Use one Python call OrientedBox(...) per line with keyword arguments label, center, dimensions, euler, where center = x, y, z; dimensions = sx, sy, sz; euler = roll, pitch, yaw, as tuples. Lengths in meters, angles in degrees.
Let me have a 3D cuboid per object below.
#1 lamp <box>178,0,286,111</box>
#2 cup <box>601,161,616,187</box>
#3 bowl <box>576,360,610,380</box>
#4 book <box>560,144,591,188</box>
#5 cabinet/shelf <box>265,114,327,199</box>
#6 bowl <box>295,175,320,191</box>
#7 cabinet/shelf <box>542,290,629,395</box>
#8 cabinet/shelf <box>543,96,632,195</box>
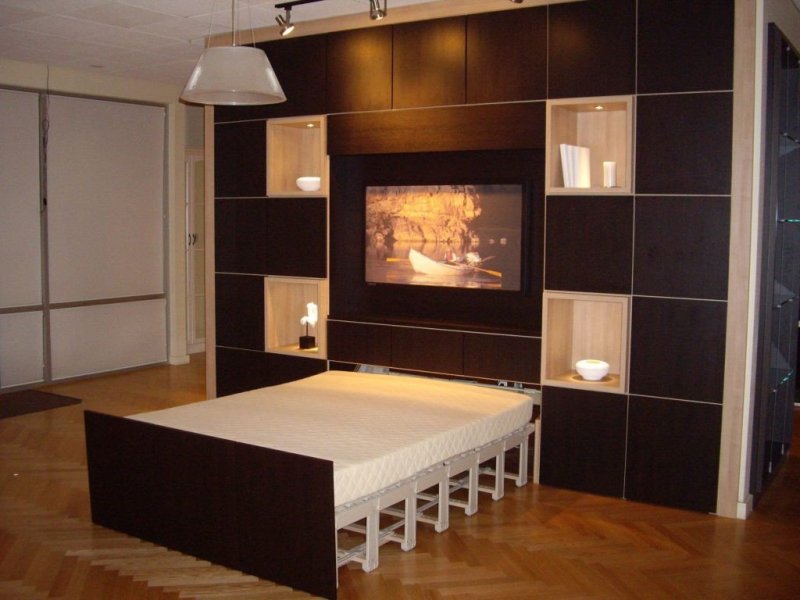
OrientedBox(label="lamp", center=(-0.930, -1.370, 3.834), dimensions=(0.464, 0.503, 0.450), euler=(6, 10, 37))
OrientedBox(label="cup", center=(1.431, -0.861, 4.618), dimensions=(0.101, 0.182, 0.356), euler=(3, 9, 17))
OrientedBox(label="bowl", center=(1.347, 0.496, 4.744), dimensions=(0.212, 0.131, 0.214), euler=(0, 8, 0))
OrientedBox(label="book", center=(1.198, -0.926, 4.664), dimensions=(0.306, 0.361, 0.048), euler=(-3, 2, -32))
OrientedBox(label="cabinet/shelf", center=(-0.909, -1.239, 5.793), dimensions=(0.671, 0.817, 0.408), euler=(3, 4, 35))
OrientedBox(label="bowl", center=(-0.785, -0.996, 5.753), dimensions=(0.168, 0.086, 0.171), euler=(1, 12, 0))
OrientedBox(label="cabinet/shelf", center=(1.307, 0.297, 4.757), dimensions=(0.674, 0.830, 0.415), euler=(2, 2, 34))
OrientedBox(label="cabinet/shelf", center=(1.347, -1.043, 4.656), dimensions=(0.601, 0.600, 0.339), euler=(7, 11, 34))
